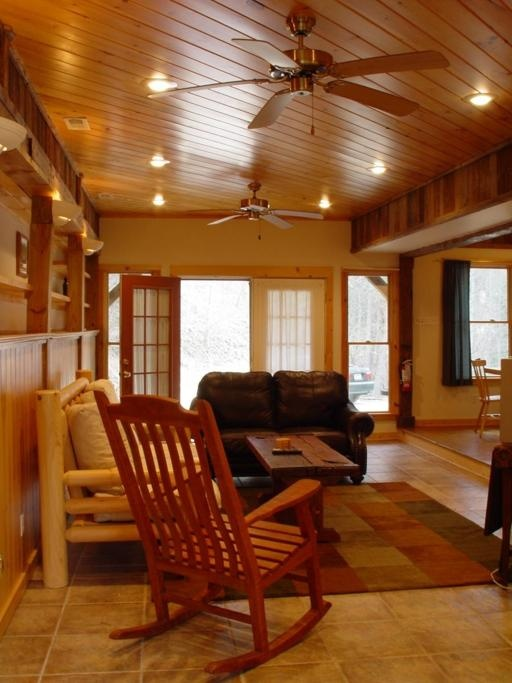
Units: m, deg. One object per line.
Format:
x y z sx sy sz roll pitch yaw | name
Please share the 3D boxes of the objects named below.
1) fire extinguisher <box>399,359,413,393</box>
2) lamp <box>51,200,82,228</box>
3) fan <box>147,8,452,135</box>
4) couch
1.867 0.417 6.967 0.195 0.324 0.082 -1 -2 -14 | fire extinguisher
-1.151 -0.772 3.381 0.149 0.114 0.249 1 -2 -16 | lamp
0.320 -1.015 2.110 0.656 0.213 0.713 1 3 16 | fan
0.273 0.601 5.124 1.762 0.932 0.933 1 -6 -8 | couch
